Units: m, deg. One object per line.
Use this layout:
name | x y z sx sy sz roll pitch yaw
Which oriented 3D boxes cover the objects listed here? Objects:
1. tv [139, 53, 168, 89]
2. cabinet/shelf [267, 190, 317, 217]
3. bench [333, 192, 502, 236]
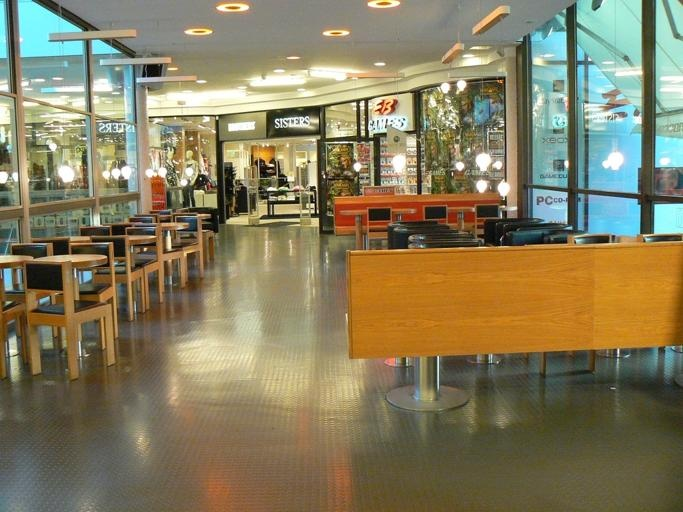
tv | -4.250 -4.251 13.556 0.620 0.683 2.038 -5 11 -15
cabinet/shelf | -1.952 -2.018 22.330 1.632 0.620 0.496 -1 3 -6
bench | 1.848 -0.759 12.887 3.368 0.920 0.861 -3 11 13
